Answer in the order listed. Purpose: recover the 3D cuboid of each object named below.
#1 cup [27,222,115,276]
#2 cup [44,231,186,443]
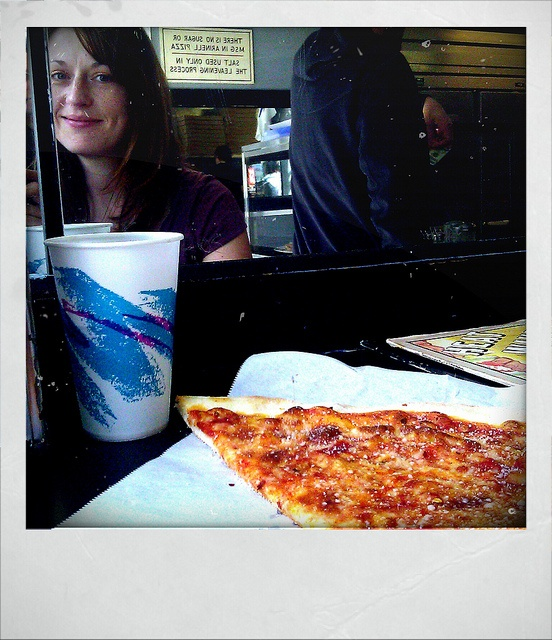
[{"bbox_3d":[-0.407,-0.141,1.156,0.112,0.094,0.109,2,8,0],"label":"cup"},{"bbox_3d":[-0.239,0.007,1.081,0.286,0.452,0.304,0,9,0],"label":"cup"}]
